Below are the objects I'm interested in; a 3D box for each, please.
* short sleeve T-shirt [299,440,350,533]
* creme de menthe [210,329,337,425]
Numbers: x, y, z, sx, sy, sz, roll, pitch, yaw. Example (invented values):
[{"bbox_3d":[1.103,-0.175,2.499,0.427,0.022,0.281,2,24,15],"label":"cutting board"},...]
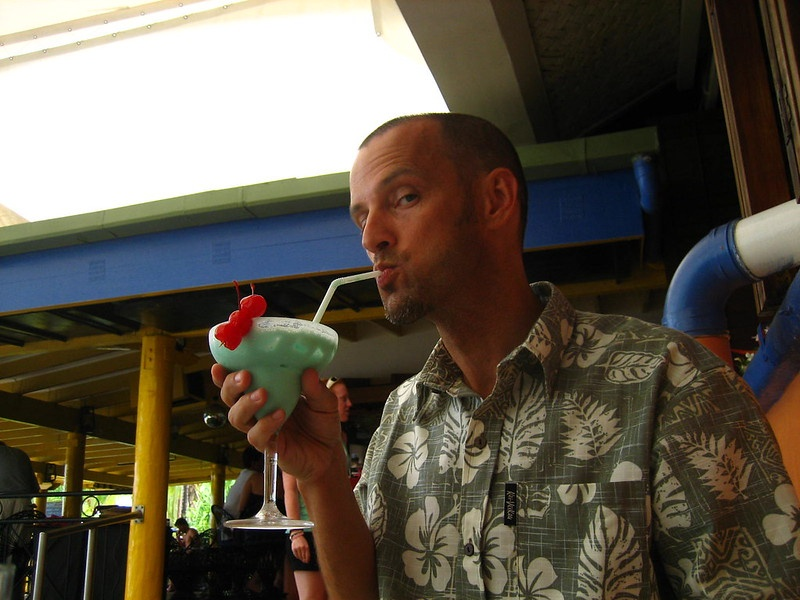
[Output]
[{"bbox_3d":[-0.218,0.536,2.234,0.155,0.238,0.211,-10,-19,3],"label":"short sleeve T-shirt"},{"bbox_3d":[-0.372,0.219,2.279,0.369,0.272,0.343,-1,-13,0],"label":"creme de menthe"}]
